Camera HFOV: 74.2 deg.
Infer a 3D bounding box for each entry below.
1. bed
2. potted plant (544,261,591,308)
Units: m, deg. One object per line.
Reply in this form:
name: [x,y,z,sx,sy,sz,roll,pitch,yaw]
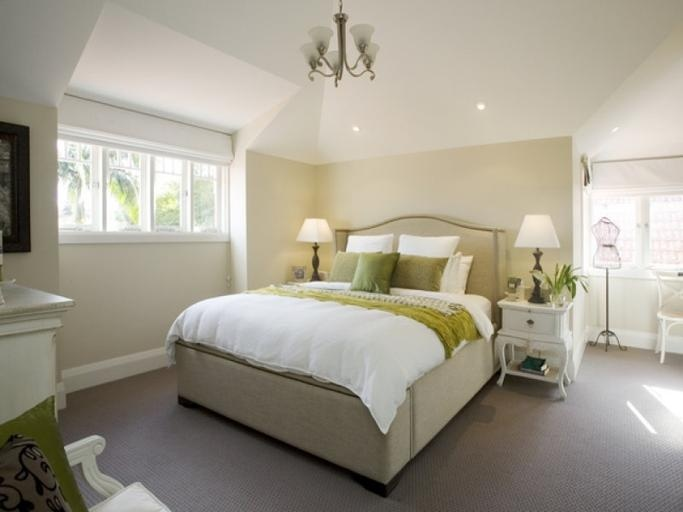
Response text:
bed: [0.312,0.902,4.153,2.058,1.864,2.336,1,3,34]
potted plant: [2.156,0.259,4.357,0.442,0.348,0.471,0,-8,32]
